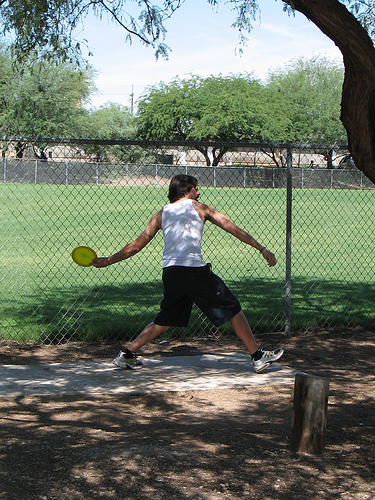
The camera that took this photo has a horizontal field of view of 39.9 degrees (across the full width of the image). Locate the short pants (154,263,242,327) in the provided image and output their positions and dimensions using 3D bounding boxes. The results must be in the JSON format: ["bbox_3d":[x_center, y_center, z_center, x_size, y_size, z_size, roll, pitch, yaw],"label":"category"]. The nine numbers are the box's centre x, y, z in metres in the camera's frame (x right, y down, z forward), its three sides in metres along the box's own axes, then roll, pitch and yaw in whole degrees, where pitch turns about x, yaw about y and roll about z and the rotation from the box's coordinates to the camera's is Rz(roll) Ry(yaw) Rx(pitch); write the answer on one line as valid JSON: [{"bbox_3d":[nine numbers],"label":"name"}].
[{"bbox_3d":[0.071,0.388,4.438,0.743,0.572,0.228,1,7,3],"label":"short pants"}]

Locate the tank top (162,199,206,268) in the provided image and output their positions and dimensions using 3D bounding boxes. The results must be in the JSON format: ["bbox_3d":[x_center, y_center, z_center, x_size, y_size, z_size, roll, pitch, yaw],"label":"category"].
[{"bbox_3d":[-0.040,-0.146,4.457,0.431,0.591,0.317,2,6,11],"label":"tank top"}]

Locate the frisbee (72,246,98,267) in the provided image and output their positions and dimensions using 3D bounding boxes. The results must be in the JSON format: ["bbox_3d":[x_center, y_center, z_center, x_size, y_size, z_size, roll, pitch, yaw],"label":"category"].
[{"bbox_3d":[-0.944,0.064,4.849,0.286,0.204,0.251,2,6,8],"label":"frisbee"}]

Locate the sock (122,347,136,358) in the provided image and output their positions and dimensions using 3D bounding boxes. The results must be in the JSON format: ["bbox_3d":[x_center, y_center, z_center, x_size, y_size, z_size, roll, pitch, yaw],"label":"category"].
[{"bbox_3d":[-0.547,0.952,4.789,0.117,0.060,0.084,7,4,-18],"label":"sock"}]
